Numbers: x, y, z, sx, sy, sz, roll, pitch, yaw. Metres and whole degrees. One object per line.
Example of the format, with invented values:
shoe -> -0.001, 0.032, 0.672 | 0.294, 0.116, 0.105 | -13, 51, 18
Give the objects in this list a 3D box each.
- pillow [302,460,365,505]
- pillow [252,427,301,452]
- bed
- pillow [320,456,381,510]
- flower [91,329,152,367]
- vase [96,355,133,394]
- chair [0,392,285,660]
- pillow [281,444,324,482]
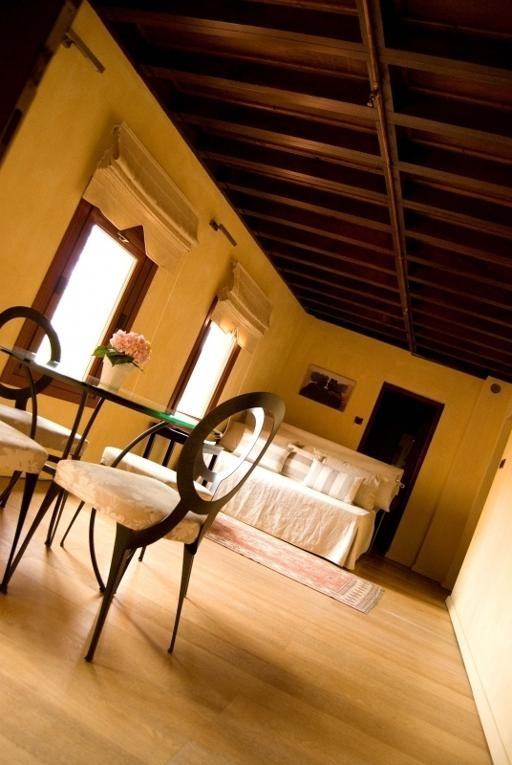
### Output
pillow -> 0.793, 1.012, 5.536 | 0.569, 0.356, 0.168 | 19, -16, 22
pillow -> 0.326, 0.682, 6.360 | 0.519, 0.152, 0.500 | 14, 10, 2
bed -> 0.702, 1.219, 5.520 | 2.119, 0.975, 1.438 | 19, -9, 34
pillow -> 1.016, 1.022, 5.498 | 0.558, 0.539, 0.166 | 9, -2, 43
flower -> -0.601, -0.144, 2.360 | 0.180, 0.142, 0.191 | -3, 3, -34
vase -> -0.614, -0.033, 2.322 | 0.140, 0.135, 0.152 | 24, -4, -10
chair -> -0.334, 0.406, 1.948 | 0.602, 0.965, 0.757 | 26, -4, 29
pillow -> 0.464, 0.886, 5.956 | 0.336, 0.380, 0.112 | 18, -30, 20
